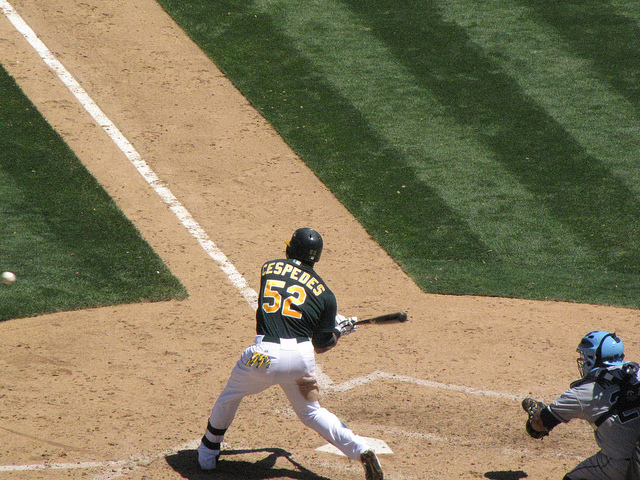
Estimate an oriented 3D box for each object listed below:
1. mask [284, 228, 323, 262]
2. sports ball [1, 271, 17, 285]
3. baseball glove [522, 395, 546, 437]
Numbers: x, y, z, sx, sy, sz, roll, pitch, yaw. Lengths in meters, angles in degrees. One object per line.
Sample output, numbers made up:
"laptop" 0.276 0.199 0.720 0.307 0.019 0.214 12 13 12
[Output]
"mask" -0.196 0.039 16.385 0.389 0.387 0.496 2 24 -36
"sports ball" -4.498 0.531 18.489 0.202 0.214 0.477 4 7 -14
"baseball glove" 2.755 2.173 16.115 0.211 0.243 0.511 8 50 -11
